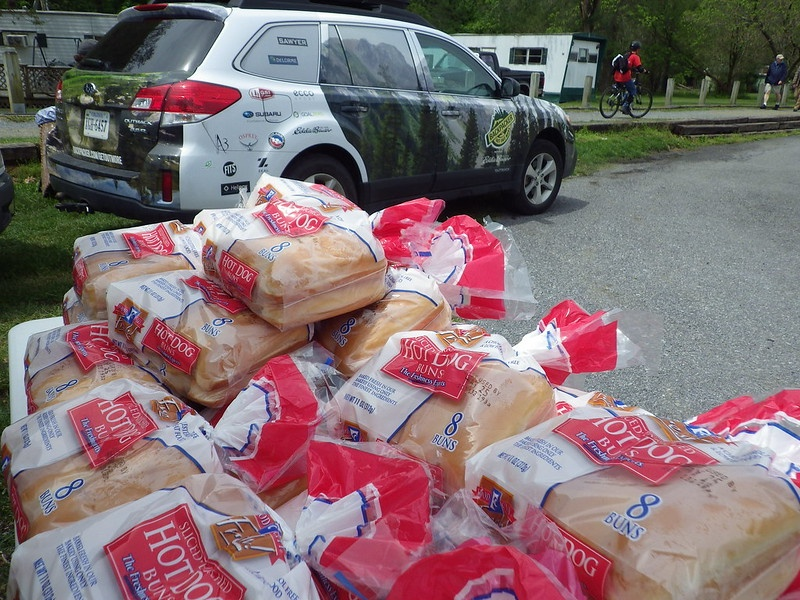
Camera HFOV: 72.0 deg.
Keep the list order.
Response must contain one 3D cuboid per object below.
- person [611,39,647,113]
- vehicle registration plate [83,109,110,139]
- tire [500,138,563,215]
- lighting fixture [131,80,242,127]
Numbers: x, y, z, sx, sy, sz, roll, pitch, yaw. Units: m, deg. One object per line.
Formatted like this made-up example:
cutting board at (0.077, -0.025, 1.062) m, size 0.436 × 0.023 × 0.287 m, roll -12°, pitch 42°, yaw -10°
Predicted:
person at (6.527, -6.414, 15.920) m, size 0.815 × 1.956 × 1.746 m, roll 13°, pitch 26°, yaw 18°
vehicle registration plate at (-2.317, -1.338, 4.195) m, size 0.366 × 0.197 × 0.060 m, roll 21°, pitch 29°, yaw 30°
tire at (1.614, -1.497, 6.701) m, size 0.791 × 0.872 × 0.263 m, roll -16°, pitch 26°, yaw -32°
lighting fixture at (-1.530, -1.399, 3.909) m, size 0.762 × 0.298 × 0.285 m, roll -2°, pitch 26°, yaw -16°
